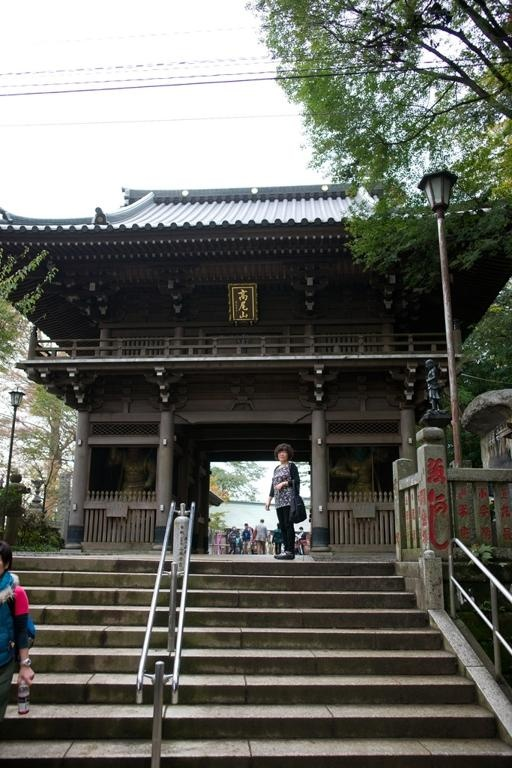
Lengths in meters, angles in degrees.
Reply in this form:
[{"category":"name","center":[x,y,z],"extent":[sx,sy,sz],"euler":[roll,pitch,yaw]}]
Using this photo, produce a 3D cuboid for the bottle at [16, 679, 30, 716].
[{"category":"bottle","center":[-1.402,1.902,3.751],"extent":[0.056,0.190,0.104],"euler":[5,-14,-13]}]
